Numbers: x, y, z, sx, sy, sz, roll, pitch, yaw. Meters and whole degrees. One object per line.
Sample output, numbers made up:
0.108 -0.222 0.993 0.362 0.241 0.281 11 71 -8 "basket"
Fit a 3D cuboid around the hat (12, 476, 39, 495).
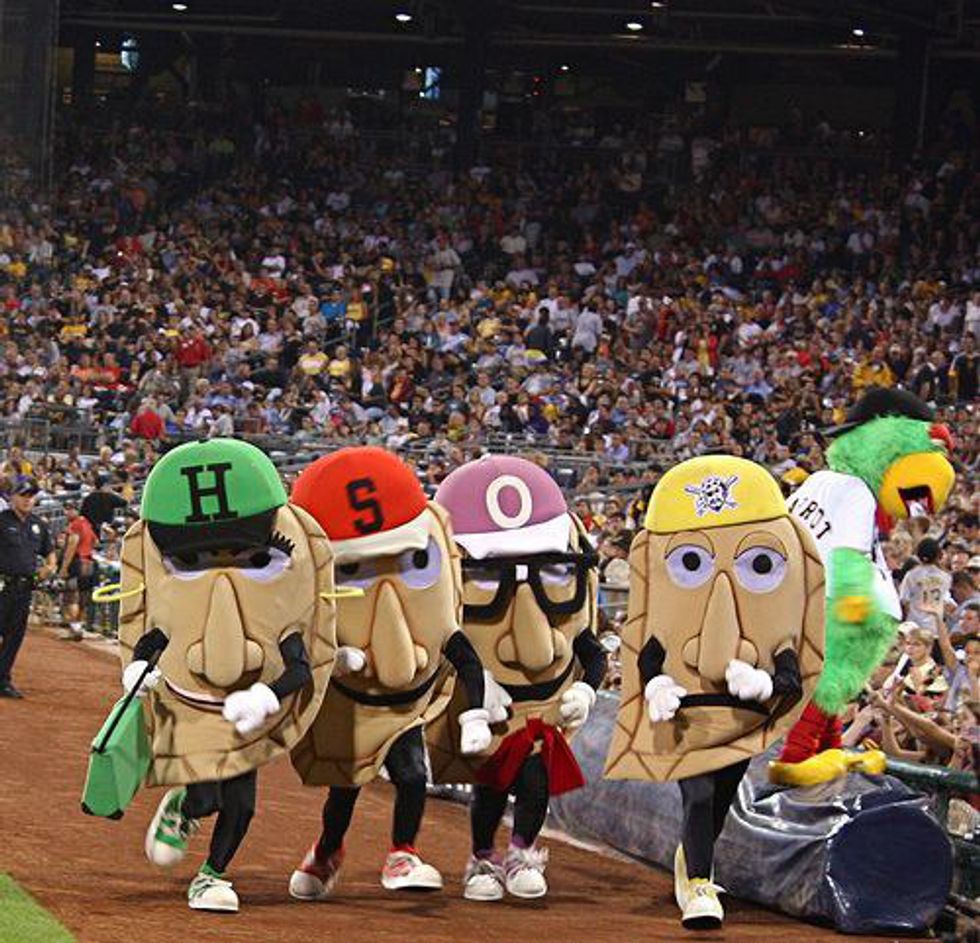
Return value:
-2.894 0.094 9.347 0.178 0.143 0.276 2 2 -22 "hat"
